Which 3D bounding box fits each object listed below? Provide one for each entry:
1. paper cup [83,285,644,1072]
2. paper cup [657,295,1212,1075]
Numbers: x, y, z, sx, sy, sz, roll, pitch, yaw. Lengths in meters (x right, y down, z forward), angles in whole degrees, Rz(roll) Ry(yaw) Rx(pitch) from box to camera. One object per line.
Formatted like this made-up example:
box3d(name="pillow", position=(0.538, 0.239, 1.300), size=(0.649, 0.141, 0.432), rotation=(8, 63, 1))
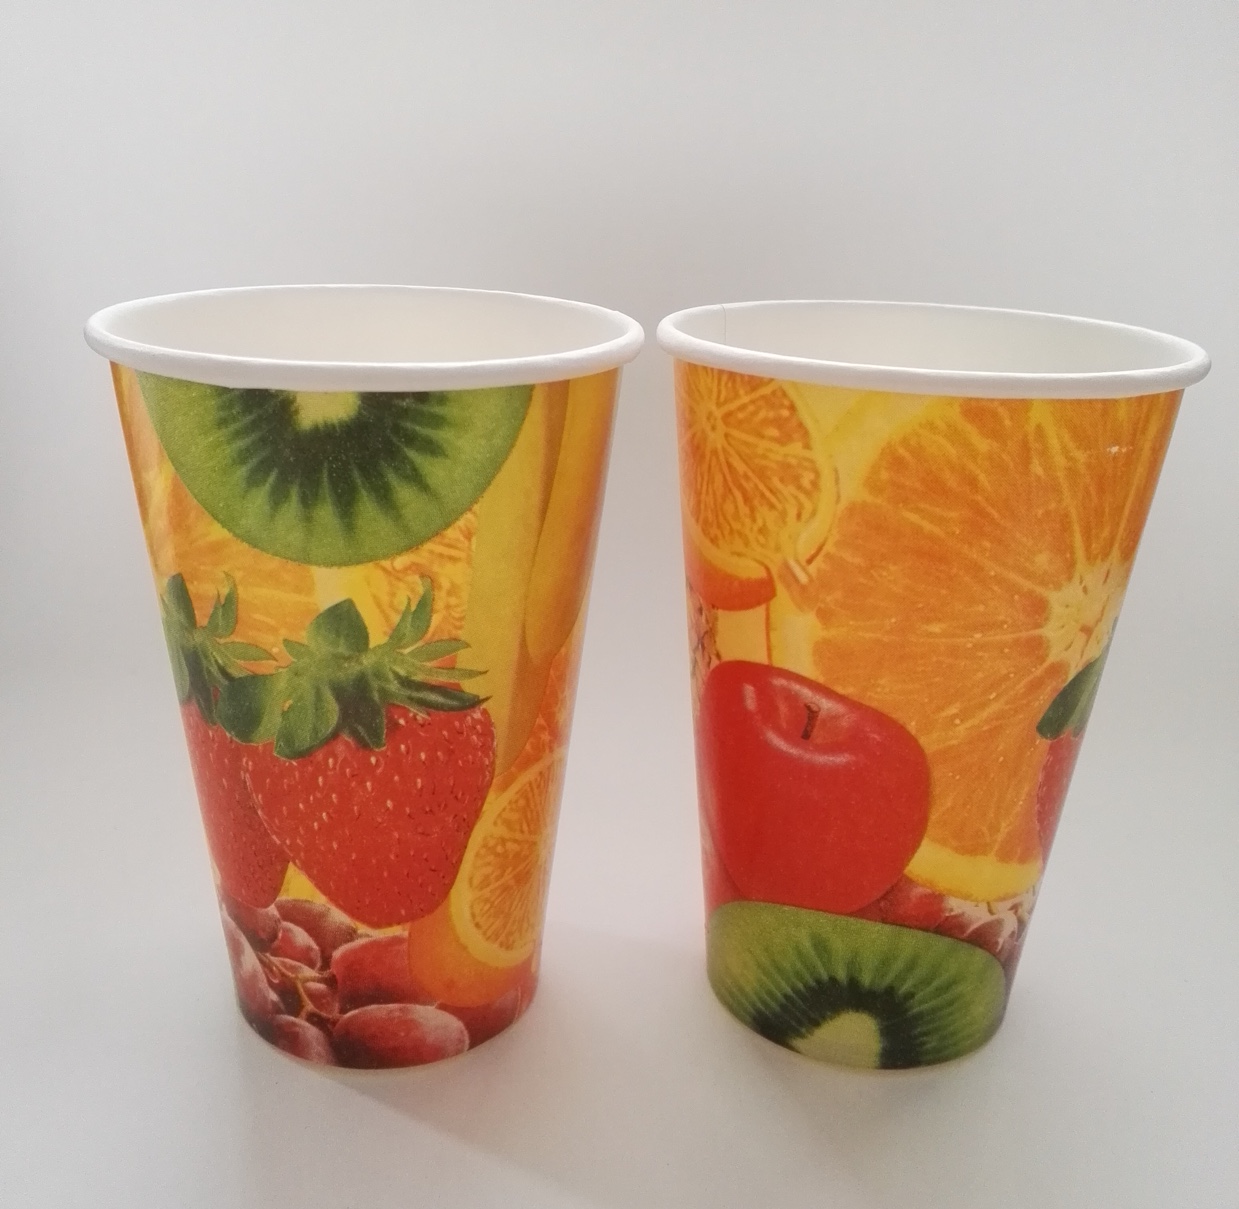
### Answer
box3d(name="paper cup", position=(-0.182, 0.033, 1.160), size=(0.370, 0.565, 0.396), rotation=(1, 21, 0))
box3d(name="paper cup", position=(0.182, 0.010, 1.281), size=(0.461, 0.691, 0.489), rotation=(0, 20, 0))
